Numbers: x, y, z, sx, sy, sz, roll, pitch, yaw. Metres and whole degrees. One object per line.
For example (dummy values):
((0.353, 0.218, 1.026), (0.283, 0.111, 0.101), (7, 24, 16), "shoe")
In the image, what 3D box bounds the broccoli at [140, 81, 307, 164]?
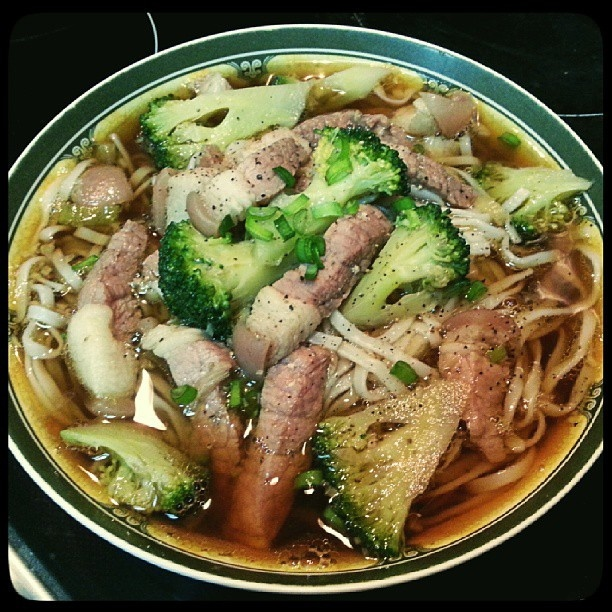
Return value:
((-0.428, -1.039, 4.105), (0.939, 0.311, 0.401), (-12, 68, 2), "broccoli")

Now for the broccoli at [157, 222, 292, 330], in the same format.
((-0.511, -0.159, 3.408), (0.612, 0.252, 0.570), (31, 79, 7), "broccoli")
